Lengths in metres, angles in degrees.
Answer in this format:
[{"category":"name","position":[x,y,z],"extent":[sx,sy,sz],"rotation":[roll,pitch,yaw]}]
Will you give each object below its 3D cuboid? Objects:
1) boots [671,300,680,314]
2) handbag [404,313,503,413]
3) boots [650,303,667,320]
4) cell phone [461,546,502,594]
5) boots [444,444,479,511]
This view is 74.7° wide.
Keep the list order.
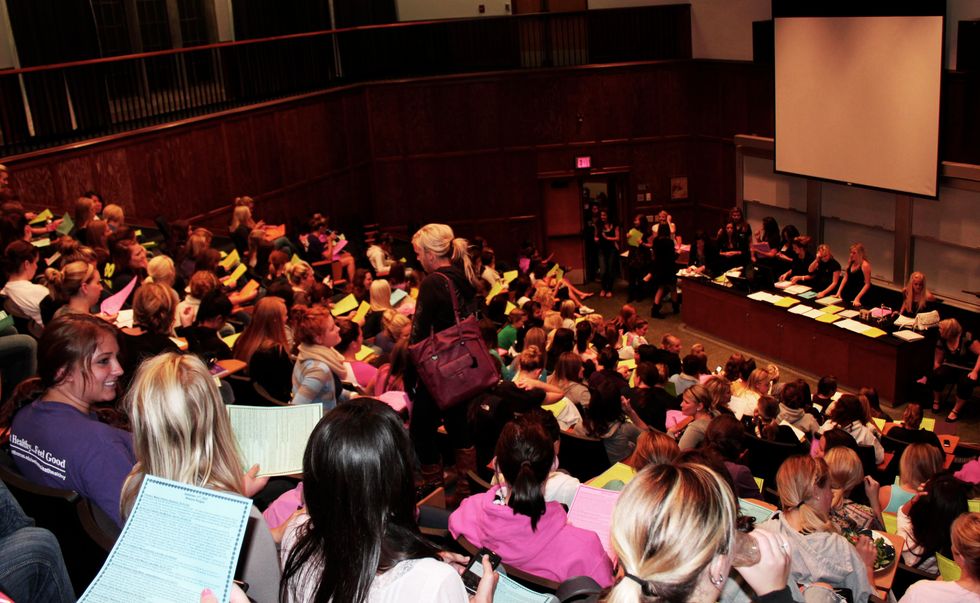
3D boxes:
[{"category":"boots","position":[3.962,0.082,13.797],"extent":[0.150,0.291,0.279],"rotation":[-5,9,-10]},{"category":"handbag","position":[-0.304,0.487,4.924],"extent":[0.591,0.621,0.333],"rotation":[-26,15,-15]},{"category":"boots","position":[3.594,0.144,13.732],"extent":[0.389,0.385,0.207],"rotation":[-5,15,-15]},{"category":"cell phone","position":[-0.054,1.029,2.493],"extent":[0.127,0.159,0.187],"rotation":[-2,5,-32]},{"category":"boots","position":[-0.213,1.332,5.249],"extent":[0.198,0.434,0.358],"rotation":[1,8,-1]}]
